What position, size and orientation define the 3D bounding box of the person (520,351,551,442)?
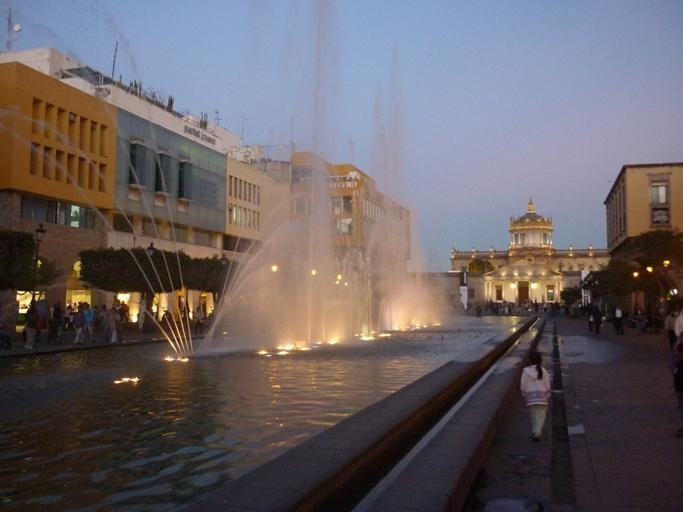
[{"bbox_3d":[3.221,2.289,10.654,0.442,1.364,1.354,-3,-8,15],"label":"person"}]
